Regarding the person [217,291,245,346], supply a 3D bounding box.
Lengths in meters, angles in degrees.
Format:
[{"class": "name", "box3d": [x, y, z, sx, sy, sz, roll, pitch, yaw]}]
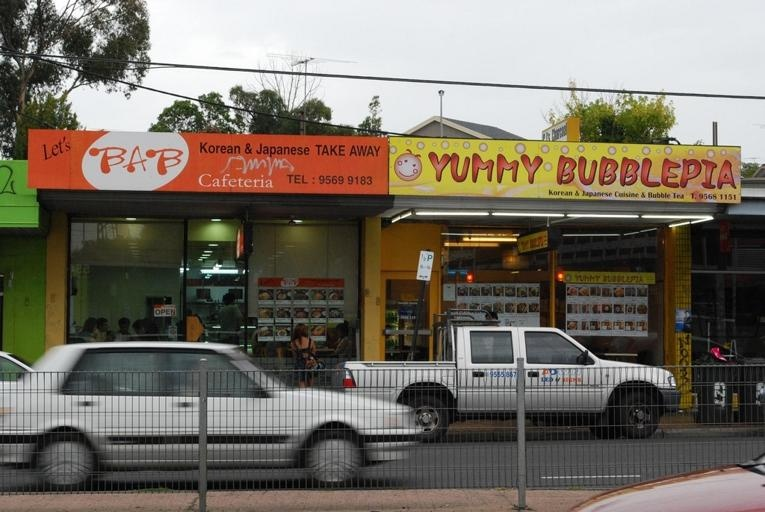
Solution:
[{"class": "person", "box3d": [-3.949, 1.575, 26.267, 0.617, 1.293, 0.287, 3, 9, -9]}]

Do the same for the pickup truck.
[{"class": "pickup truck", "box3d": [2.461, 1.886, 18.476, 5.856, 2.067, 2.507, -3, 10, 18]}]

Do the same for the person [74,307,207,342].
[{"class": "person", "box3d": [-6.079, 1.768, 25.859, 3.221, 0.787, 0.405, 3, 9, -10]}]
